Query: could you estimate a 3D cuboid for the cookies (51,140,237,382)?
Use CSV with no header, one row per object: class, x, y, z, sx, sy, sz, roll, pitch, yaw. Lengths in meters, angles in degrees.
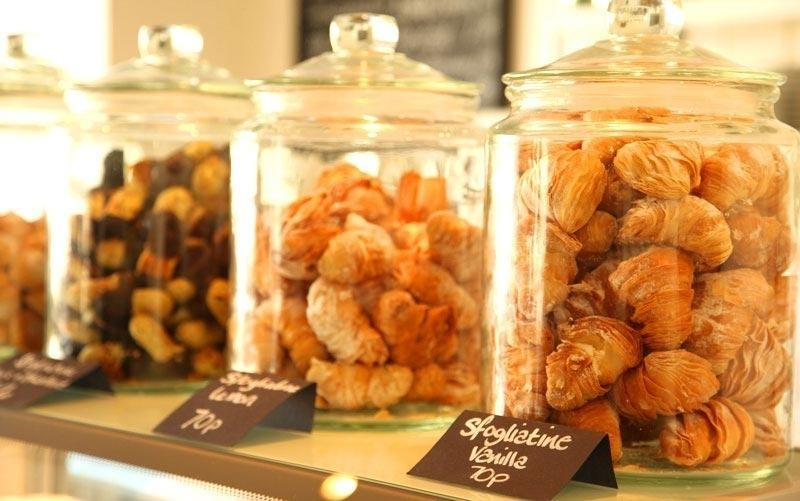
cookies,-0.370,0.016,1.155,0.245,0.347,0.093,-2,8,-12
